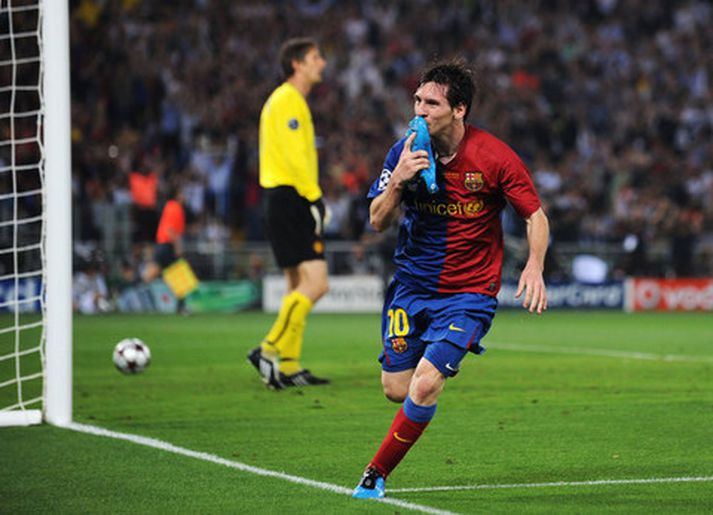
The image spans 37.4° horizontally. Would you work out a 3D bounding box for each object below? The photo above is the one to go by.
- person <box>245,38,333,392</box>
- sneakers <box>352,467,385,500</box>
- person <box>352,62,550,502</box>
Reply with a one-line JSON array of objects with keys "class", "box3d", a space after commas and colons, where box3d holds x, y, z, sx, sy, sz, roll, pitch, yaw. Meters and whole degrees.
[{"class": "person", "box3d": [-0.643, -0.392, 9.910, 0.735, 3.272, 1.170, -1, 10, 0]}, {"class": "sneakers", "box3d": [0.113, 1.627, 7.607, 0.210, 0.175, 0.395, 4, 11, 10]}, {"class": "person", "box3d": [0.736, 0.109, 7.746, 1.366, 3.027, 0.917, -2, 10, -5]}]
